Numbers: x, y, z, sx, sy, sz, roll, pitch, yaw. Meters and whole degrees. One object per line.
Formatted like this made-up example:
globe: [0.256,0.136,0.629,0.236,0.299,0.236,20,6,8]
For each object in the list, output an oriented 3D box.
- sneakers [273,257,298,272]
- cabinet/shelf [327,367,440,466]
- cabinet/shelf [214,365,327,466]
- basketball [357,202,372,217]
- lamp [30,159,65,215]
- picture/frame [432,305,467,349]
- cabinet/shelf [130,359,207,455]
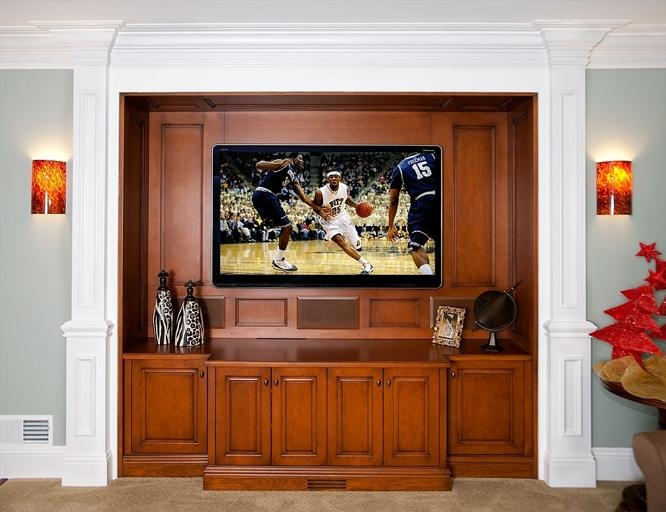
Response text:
sneakers: [-0.413,0.070,5.696,0.245,0.111,0.094,4,8,-3]
cabinet/shelf: [0.363,1.244,5.104,0.758,0.629,0.292,0,-2,0]
cabinet/shelf: [-0.451,1.213,5.099,0.778,0.642,0.300,0,-3,0]
basketball: [0.286,-0.396,5.670,0.126,0.122,0.125,3,-41,14]
lamp: [-2.227,-0.538,5.213,0.258,0.422,0.113,-1,-1,-23]
picture/frame: [0.981,0.592,5.517,0.328,0.411,0.034,2,-18,41]
cabinet/shelf: [-1.299,1.145,5.214,0.767,0.856,0.473,0,0,-2]
